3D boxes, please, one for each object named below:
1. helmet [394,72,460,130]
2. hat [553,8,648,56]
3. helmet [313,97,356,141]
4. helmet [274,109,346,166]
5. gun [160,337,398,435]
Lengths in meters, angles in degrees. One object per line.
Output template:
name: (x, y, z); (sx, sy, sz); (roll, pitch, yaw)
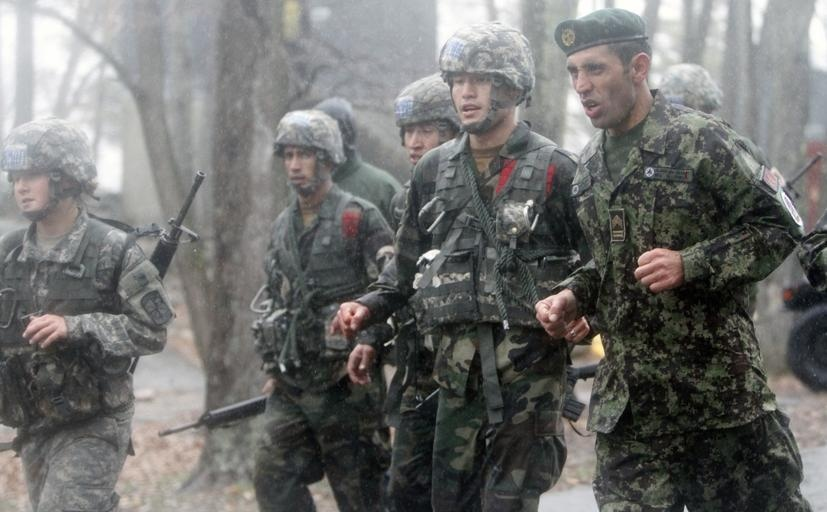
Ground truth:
helmet: (0.126, -1.360, 11.833); (0.498, 0.459, 0.451); (-15, -3, -44)
hat: (1.418, -1.704, 10.006); (0.375, 0.195, 0.504); (-11, 9, 34)
helmet: (-0.706, -1.298, 12.598); (0.302, 0.449, 0.439); (7, -27, 14)
helmet: (-0.884, -0.978, 11.522); (0.470, 0.345, 0.504); (-2, -14, 17)
gun: (-1.159, 1.192, 11.953); (2.106, 0.677, 0.200); (-24, 35, -26)
